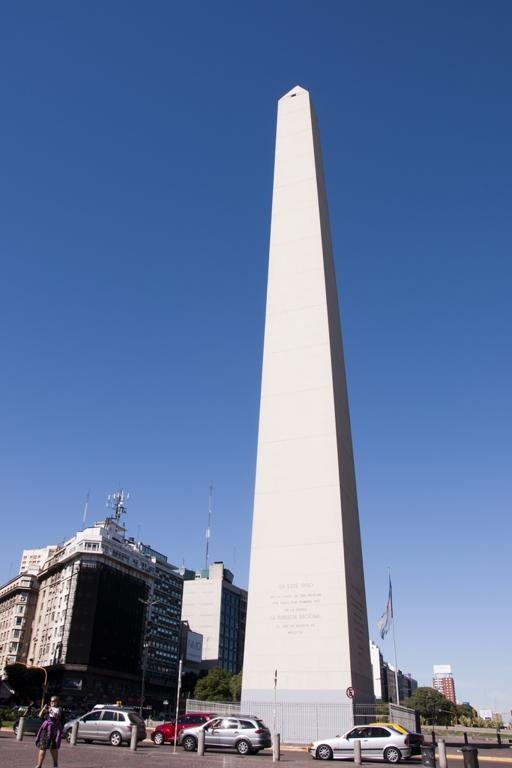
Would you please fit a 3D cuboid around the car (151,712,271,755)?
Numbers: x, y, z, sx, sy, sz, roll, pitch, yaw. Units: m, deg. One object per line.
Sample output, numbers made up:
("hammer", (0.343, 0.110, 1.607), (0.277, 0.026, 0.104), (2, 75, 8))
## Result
("car", (-2.065, 13.614, 21.093), (2.566, 1.306, 8.150), (14, -32, -20))
